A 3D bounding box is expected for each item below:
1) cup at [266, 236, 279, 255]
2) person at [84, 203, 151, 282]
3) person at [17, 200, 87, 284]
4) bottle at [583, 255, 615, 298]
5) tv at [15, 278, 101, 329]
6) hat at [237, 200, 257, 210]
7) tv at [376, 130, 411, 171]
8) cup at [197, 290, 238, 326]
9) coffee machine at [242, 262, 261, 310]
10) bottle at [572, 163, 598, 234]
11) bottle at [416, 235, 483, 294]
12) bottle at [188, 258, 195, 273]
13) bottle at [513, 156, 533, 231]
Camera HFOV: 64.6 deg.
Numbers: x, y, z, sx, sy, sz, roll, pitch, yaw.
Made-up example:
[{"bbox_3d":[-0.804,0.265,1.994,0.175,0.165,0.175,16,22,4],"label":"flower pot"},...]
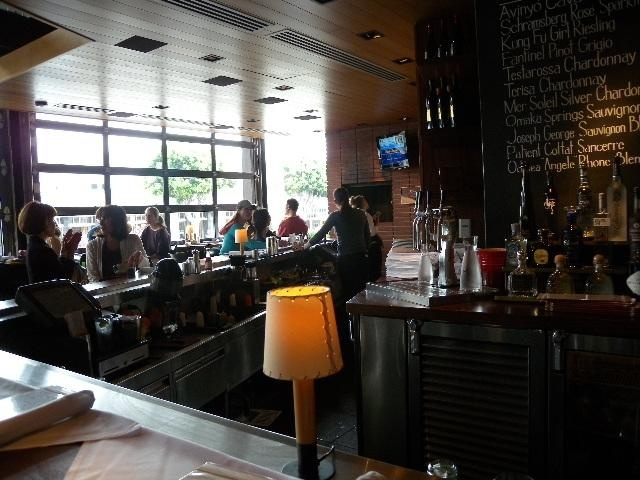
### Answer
[{"bbox_3d":[-0.508,0.053,5.328,0.130,0.175,0.311,6,6,-7],"label":"cup"},{"bbox_3d":[-1.686,0.068,4.261,0.467,0.689,1.003,3,7,-31],"label":"person"},{"bbox_3d":[-1.933,0.069,3.628,0.431,0.634,0.781,4,7,-26],"label":"person"},{"bbox_3d":[1.380,0.173,2.478,0.235,0.158,0.117,3,7,-35],"label":"bottle"},{"bbox_3d":[-1.311,0.319,2.537,0.374,0.189,0.213,2,8,-38],"label":"tv"},{"bbox_3d":[-0.991,-0.449,6.617,0.209,0.114,0.143,-4,-1,13],"label":"hat"},{"bbox_3d":[1.393,-1.681,9.475,0.746,0.732,0.254,1,7,39],"label":"tv"},{"bbox_3d":[-0.812,0.515,3.870,0.237,0.153,0.241,-2,-1,0],"label":"cup"},{"bbox_3d":[-0.584,0.378,4.306,0.180,0.365,0.282,6,6,-8],"label":"coffee machine"},{"bbox_3d":[1.474,-0.209,2.793,0.116,0.313,0.310,9,6,26],"label":"bottle"},{"bbox_3d":[0.641,0.151,2.701,0.399,0.347,0.182,-2,-1,37],"label":"bottle"},{"bbox_3d":[-0.977,0.201,3.836,0.054,0.097,0.068,2,7,-36],"label":"bottle"},{"bbox_3d":[1.163,-0.233,2.833,0.108,0.274,0.341,9,6,21],"label":"bottle"}]
